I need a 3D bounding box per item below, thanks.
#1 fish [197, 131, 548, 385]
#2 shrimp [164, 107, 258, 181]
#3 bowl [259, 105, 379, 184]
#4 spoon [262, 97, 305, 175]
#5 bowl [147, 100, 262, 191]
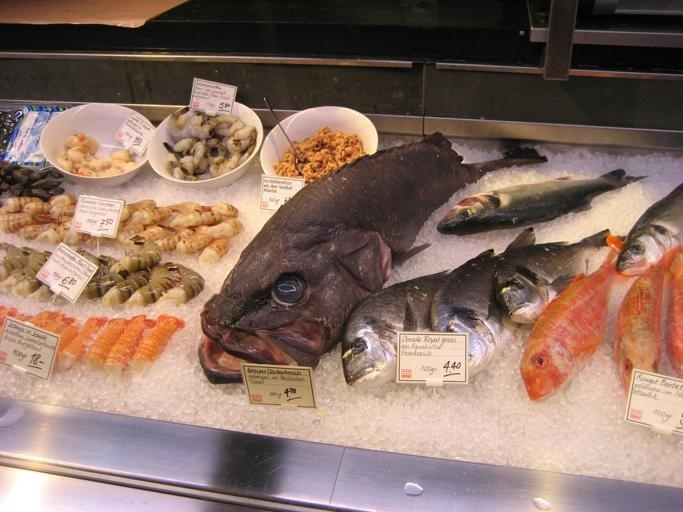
[{"bbox_3d":[0.022,-0.093,2.057,0.482,0.280,1.297,31,57,21],"label":"fish"},{"bbox_3d":[-0.656,-0.552,2.583,0.419,0.145,0.416,33,57,32],"label":"shrimp"},{"bbox_3d":[-0.117,-0.617,2.522,0.450,0.146,0.426,-9,46,9],"label":"bowl"},{"bbox_3d":[-0.272,-0.575,2.529,0.090,0.058,0.466,-29,79,11],"label":"spoon"},{"bbox_3d":[-0.709,-0.468,2.622,0.512,0.185,0.487,-1,59,1],"label":"bowl"}]
